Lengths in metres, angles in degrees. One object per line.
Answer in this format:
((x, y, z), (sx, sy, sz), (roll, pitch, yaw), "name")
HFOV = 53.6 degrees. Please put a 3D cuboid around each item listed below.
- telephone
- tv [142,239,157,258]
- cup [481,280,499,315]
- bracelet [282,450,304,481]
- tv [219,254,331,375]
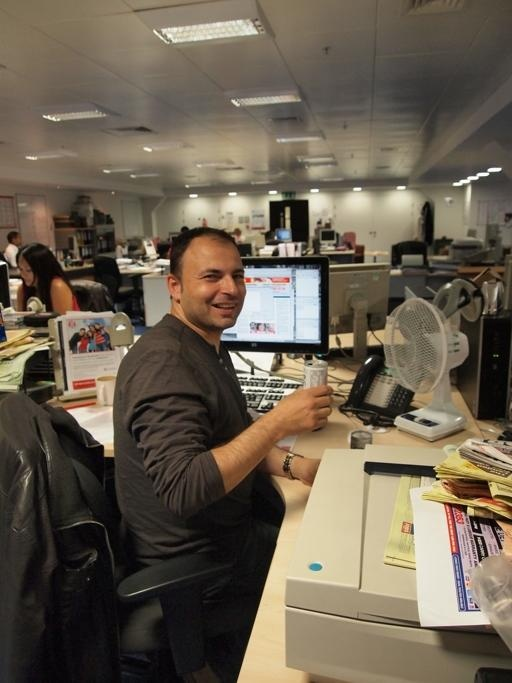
((0.442, 0.127, 1.664), (0.252, 0.125, 0.324), (8, 29, 18), "telephone")
((-2.147, -1.834, 10.238), (0.290, 0.129, 0.495), (-11, 51, -22), "tv")
((0.685, -0.129, 1.482), (0.050, 0.085, 0.155), (3, 11, 24), "cup")
((0.080, 0.304, 1.239), (0.042, 0.061, 0.062), (1, 0, 36), "bracelet")
((0.066, -0.096, 1.687), (0.536, 0.361, 0.037), (2, 6, 12), "tv")
